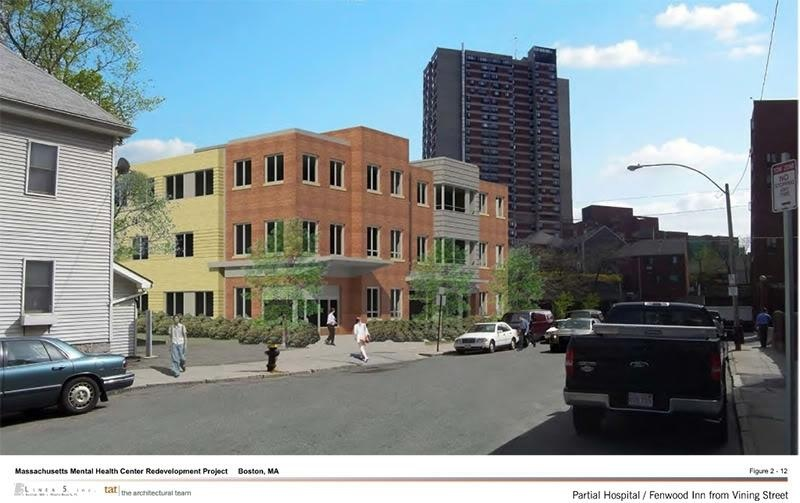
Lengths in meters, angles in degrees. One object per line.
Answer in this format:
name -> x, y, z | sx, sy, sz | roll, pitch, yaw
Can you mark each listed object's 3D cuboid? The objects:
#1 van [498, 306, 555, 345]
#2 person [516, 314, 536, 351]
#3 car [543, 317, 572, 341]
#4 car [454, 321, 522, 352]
van -> 8.368, 4.665, 44.535 | 1.865, 1.654, 3.566 | -11, -15, 40
person -> 7.534, 4.971, 41.682 | 0.934, 0.631, 1.810 | 13, -27, 11
car -> 8.656, 4.285, 38.015 | 1.701, 1.157, 2.804 | -3, -8, 6
car -> 4.782, 4.966, 38.569 | 1.760, 1.696, 4.073 | 6, 9, 37
